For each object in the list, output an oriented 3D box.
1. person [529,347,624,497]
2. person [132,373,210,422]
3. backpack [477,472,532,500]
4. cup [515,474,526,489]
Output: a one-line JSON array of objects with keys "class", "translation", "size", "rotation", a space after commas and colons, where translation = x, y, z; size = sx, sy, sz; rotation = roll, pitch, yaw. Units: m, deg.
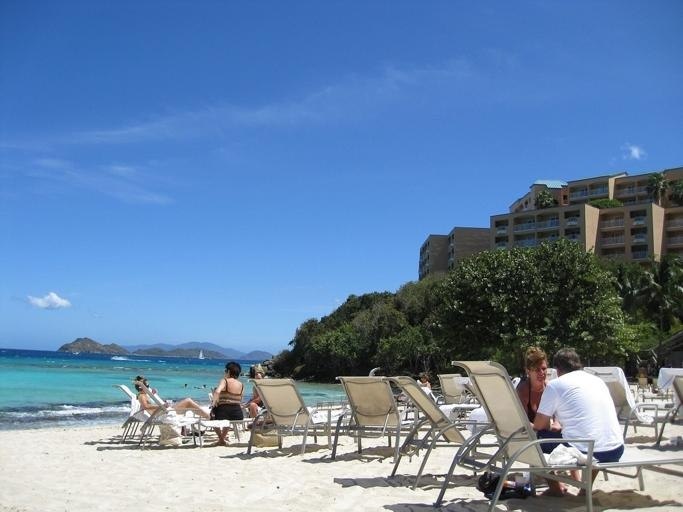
[{"class": "person", "translation": [2.939, 1.957, 7.190], "size": [1.044, 1.587, 0.723], "rotation": [11, -16, -31]}, {"class": "person", "translation": [-3.717, 3.212, 12.881], "size": [1.854, 0.900, 0.936], "rotation": [7, -2, -19]}, {"class": "backpack", "translation": [2.076, 2.975, 7.410], "size": [0.865, 0.348, 0.285], "rotation": [-4, -6, -9]}, {"class": "cup", "translation": [2.426, 3.052, 7.742], "size": [0.160, 0.198, 0.168], "rotation": [2, -19, 1]}]
